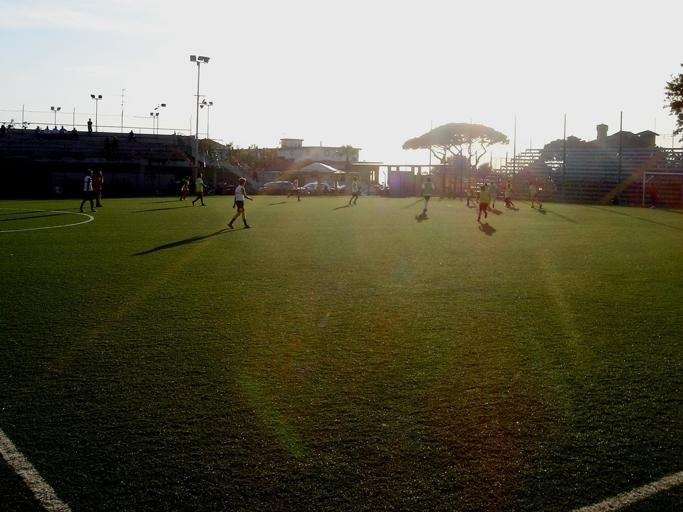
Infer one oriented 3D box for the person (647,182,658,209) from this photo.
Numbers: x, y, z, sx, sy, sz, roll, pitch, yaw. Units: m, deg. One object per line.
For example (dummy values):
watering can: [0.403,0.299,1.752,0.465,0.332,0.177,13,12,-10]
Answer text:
person: [23.510,-4.569,42.954,0.653,1.607,2.354,4,9,28]
